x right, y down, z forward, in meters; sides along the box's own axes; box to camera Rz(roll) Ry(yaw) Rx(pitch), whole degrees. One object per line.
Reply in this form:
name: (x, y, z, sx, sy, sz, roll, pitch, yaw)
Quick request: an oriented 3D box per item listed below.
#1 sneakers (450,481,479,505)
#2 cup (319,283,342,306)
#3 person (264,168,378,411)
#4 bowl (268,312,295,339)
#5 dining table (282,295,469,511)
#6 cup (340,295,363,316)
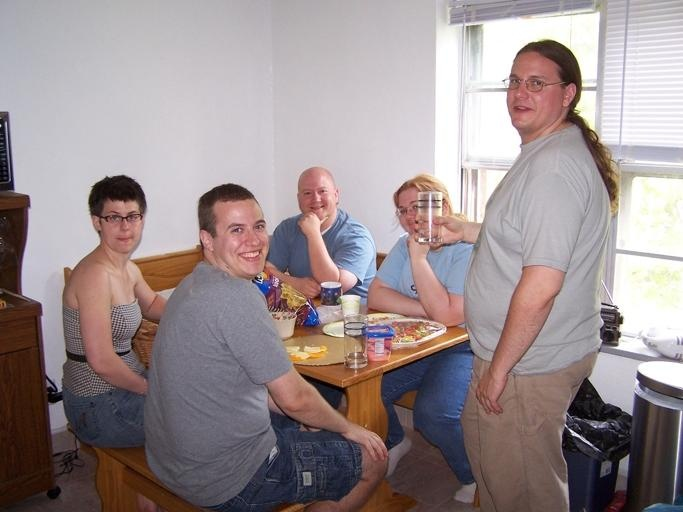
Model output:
sneakers: (0.611, 1.144, 2.536, 0.133, 0.128, 0.078, 6, -5, 25)
cup: (-0.050, 0.188, 2.605, 0.113, 0.097, 0.094, 1, 2, 45)
person: (-0.074, -0.014, 3.282, 0.653, 1.055, 0.788, -12, 13, -42)
bowl: (-0.254, 0.288, 2.225, 0.119, 0.091, 0.125, -1, -1, 0)
dining table: (0.057, 0.646, 2.335, 0.793, 0.732, 0.780, 1, -4, -44)
cup: (0.045, 0.221, 2.371, 0.086, 0.069, 0.093, -1, 2, 0)
